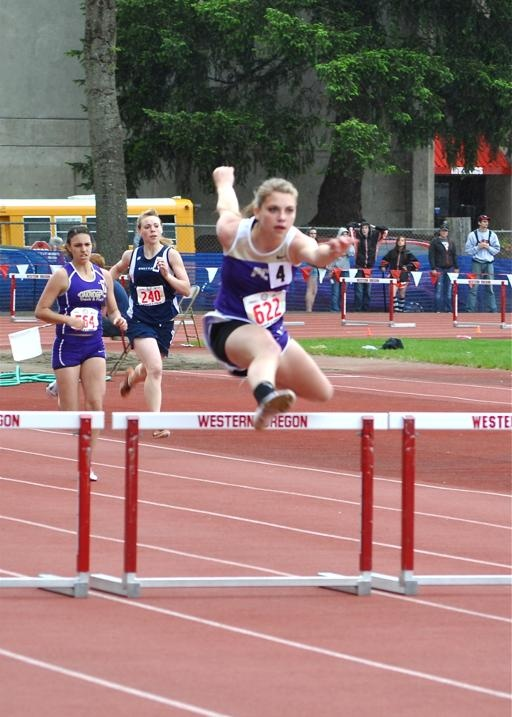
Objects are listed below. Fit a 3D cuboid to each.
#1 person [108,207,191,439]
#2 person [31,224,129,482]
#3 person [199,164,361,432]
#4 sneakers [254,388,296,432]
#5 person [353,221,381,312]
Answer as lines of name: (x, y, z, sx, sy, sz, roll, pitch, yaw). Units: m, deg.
person: (-0.786, -0.327, 7.460, 0.580, 1.429, 0.735, -1, 1, -34)
person: (-1.035, -0.076, 6.570, 0.559, 1.661, 0.608, -7, 16, -27)
person: (0.083, -0.262, 4.402, 0.536, 1.019, 0.920, 1, 6, -10)
sneakers: (0.066, 0.199, 4.022, 0.150, 0.189, 0.296, 2, 6, -1)
person: (2.284, -1.856, 21.230, 0.591, 2.450, 0.511, -6, 17, -11)
